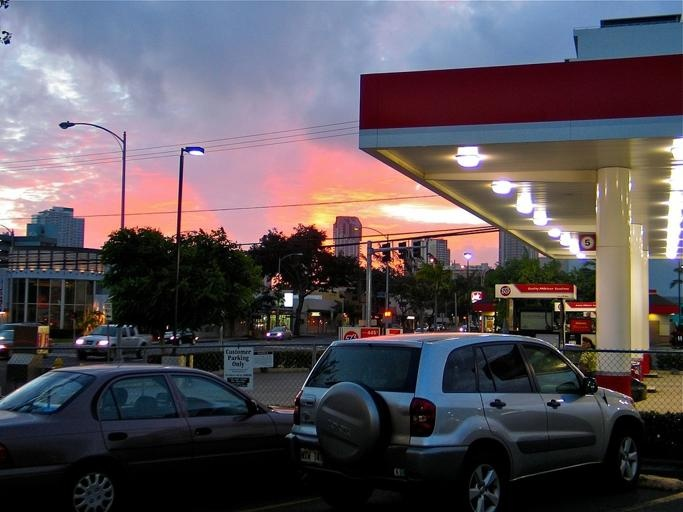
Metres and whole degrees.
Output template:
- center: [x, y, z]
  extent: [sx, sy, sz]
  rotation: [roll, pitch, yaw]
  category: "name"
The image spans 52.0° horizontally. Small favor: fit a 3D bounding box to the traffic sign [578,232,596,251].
- center: [9.670, -0.543, 27.245]
  extent: [0.846, 0.779, 0.197]
  rotation: [-2, 2, 38]
  category: "traffic sign"
